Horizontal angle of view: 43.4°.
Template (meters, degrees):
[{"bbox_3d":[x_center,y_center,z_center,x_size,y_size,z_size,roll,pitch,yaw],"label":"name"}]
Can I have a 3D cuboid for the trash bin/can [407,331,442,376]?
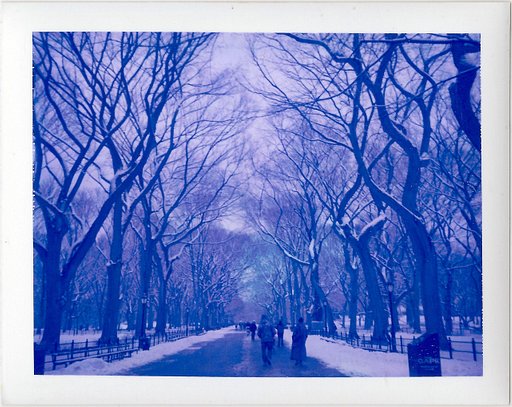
[{"bbox_3d":[5.325,4.862,20.591,0.976,1.165,1.969,-5,28,19],"label":"trash bin/can"}]

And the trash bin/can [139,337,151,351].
[{"bbox_3d":[-5.450,6.942,31.882,0.474,0.637,0.517,-3,-8,24],"label":"trash bin/can"}]
